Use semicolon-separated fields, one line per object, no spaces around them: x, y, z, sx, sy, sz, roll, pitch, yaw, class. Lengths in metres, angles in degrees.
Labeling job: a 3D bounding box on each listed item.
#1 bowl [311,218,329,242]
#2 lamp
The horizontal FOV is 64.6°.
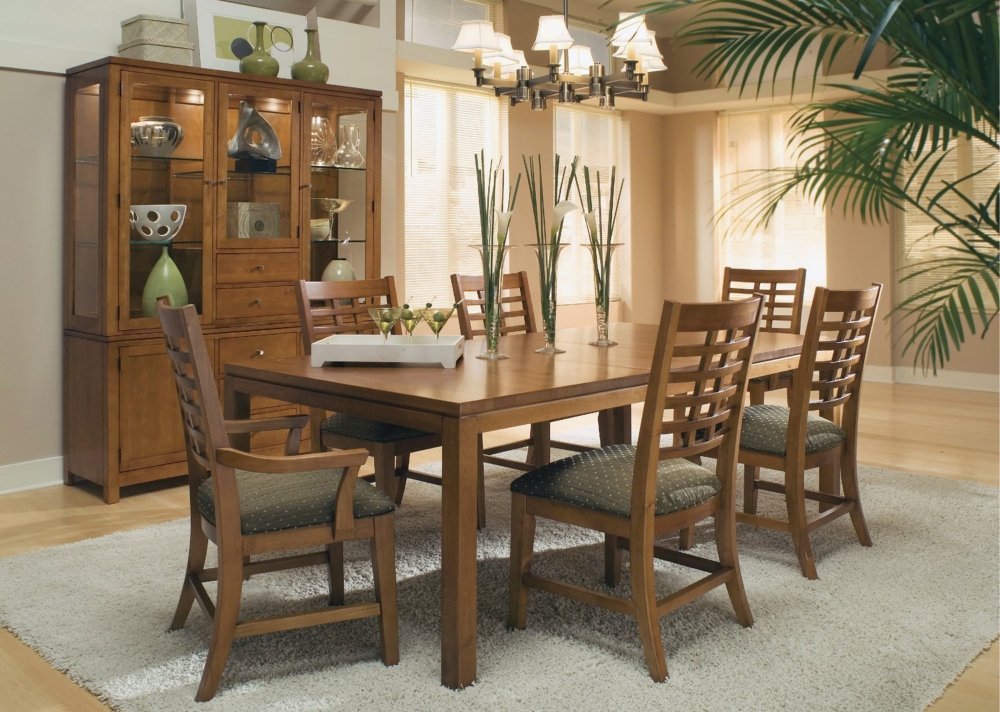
-1.118;-0.784;4.923;0.145;0.088;0.123;1;-1;-16;bowl
0.402;-1.629;4.472;1.016;0.518;1.440;2;11;12;lamp
